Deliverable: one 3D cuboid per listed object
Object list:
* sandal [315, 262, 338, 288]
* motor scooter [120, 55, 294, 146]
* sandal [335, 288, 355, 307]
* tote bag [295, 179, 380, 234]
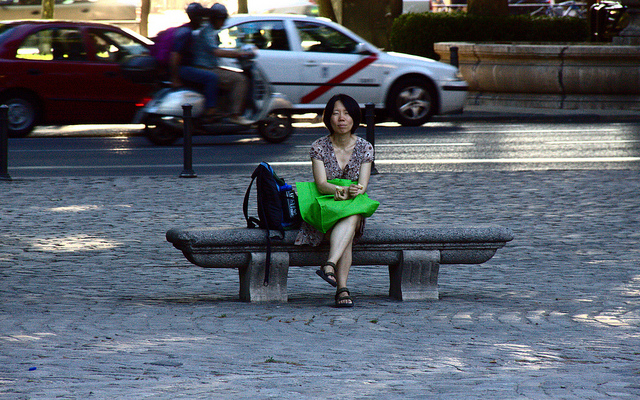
[{"bbox_3d":[0.104,0.878,18.349,0.411,0.147,0.139,31,-2,40],"label":"sandal"},{"bbox_3d":[-1.744,-1.772,27.295,3.314,1.347,1.190,1,-1,35],"label":"motor scooter"},{"bbox_3d":[0.282,1.137,18.434,0.225,0.212,0.268,-1,14,1],"label":"sandal"},{"bbox_3d":[0.190,0.064,18.538,0.920,0.247,0.734,-11,38,-17],"label":"tote bag"}]
